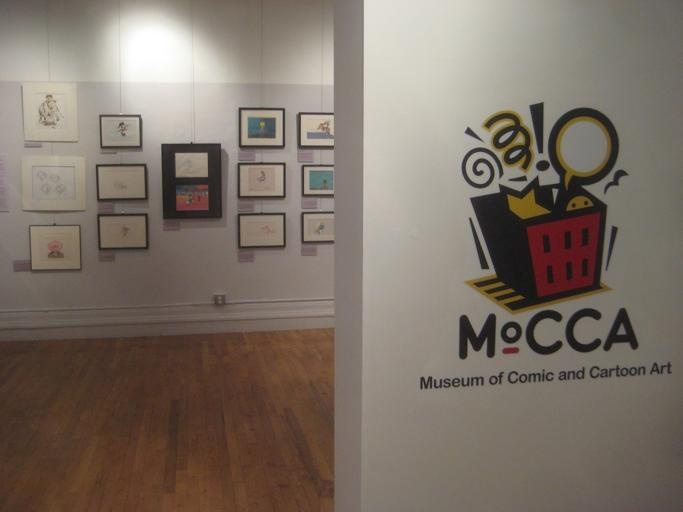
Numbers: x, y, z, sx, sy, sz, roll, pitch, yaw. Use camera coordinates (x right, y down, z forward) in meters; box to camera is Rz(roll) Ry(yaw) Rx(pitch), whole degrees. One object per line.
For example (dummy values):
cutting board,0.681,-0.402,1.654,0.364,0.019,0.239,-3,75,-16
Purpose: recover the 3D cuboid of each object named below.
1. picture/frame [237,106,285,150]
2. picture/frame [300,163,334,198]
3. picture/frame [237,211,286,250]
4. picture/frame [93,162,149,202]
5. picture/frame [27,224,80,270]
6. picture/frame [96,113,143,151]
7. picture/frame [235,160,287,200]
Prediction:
picture/frame,-0.879,-1.375,6.384,0.406,0.395,0.041,-1,3,-15
picture/frame,-0.285,-0.832,6.518,0.518,0.498,0.045,-3,7,-27
picture/frame,-0.894,-0.288,6.491,0.354,0.308,0.025,0,0,-17
picture/frame,-2.270,-0.767,6.108,0.347,0.305,0.015,-1,10,-13
picture/frame,-2.908,-0.105,6.013,0.387,0.433,0.026,-1,5,-20
picture/frame,-2.262,-1.268,6.058,0.333,0.326,0.028,0,8,-16
picture/frame,-0.891,-0.831,6.447,0.373,0.313,0.030,0,3,-14
